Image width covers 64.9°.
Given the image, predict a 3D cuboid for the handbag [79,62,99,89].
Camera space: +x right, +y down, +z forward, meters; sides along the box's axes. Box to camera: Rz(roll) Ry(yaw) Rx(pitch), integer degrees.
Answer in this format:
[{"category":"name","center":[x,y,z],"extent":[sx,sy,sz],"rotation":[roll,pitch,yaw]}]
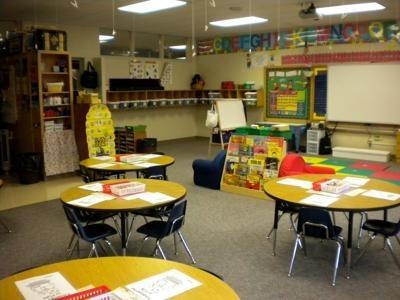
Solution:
[{"category":"handbag","center":[-3.423,-2.282,9.695],"extent":[0.549,0.854,0.586],"rotation":[-5,13,-20]}]

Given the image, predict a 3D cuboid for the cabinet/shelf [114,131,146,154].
[{"category":"cabinet/shelf","center":[-2.143,-0.404,10.251],"extent":[0.868,0.818,0.338],"rotation":[6,22,25]}]

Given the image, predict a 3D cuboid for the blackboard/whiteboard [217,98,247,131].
[{"category":"blackboard/whiteboard","center":[0.997,-1.125,10.274],"extent":[0.128,0.917,1.310],"rotation":[-16,-5,35]}]

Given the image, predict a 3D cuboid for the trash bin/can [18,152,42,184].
[{"category":"trash bin/can","center":[-4.057,0.488,7.954],"extent":[0.654,0.726,0.628],"rotation":[-7,-10,27]}]

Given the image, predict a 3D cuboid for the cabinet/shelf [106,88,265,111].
[{"category":"cabinet/shelf","center":[-0.723,-1.978,12.172],"extent":[5.387,0.722,2.367],"rotation":[-3,12,-11]}]

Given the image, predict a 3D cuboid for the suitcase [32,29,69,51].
[{"category":"suitcase","center":[-3.794,-2.768,7.891],"extent":[0.420,0.518,0.791],"rotation":[21,24,35]}]

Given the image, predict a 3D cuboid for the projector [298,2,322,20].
[{"category":"projector","center":[2.619,-3.330,7.549],"extent":[0.452,0.162,0.339],"rotation":[-2,1,-16]}]

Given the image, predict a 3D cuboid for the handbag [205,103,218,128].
[{"category":"handbag","center":[0.384,-1.067,10.110],"extent":[0.377,0.855,0.485],"rotation":[-1,12,1]}]
